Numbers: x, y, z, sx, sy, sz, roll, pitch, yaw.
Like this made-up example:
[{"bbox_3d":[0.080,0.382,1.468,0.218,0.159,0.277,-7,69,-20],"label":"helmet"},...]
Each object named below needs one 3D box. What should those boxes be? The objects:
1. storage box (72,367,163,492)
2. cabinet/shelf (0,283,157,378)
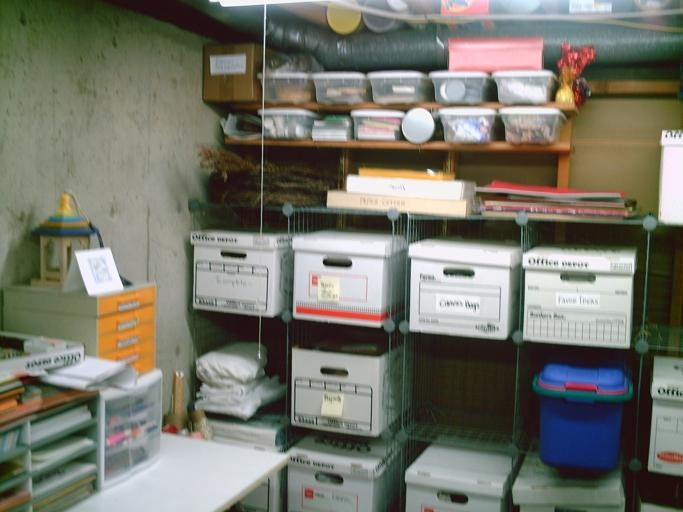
[{"bbox_3d":[-0.707,0.565,2.289,0.240,0.452,0.450,-1,1,18],"label":"storage box"},{"bbox_3d":[-0.973,0.210,2.419,0.376,0.316,0.371,2,3,23],"label":"cabinet/shelf"}]
